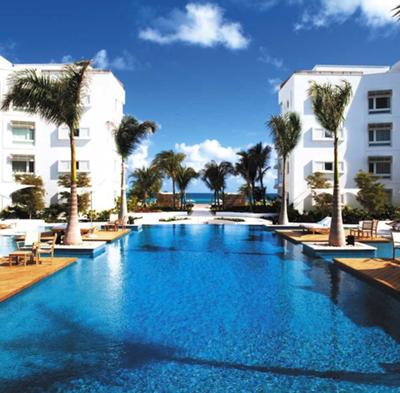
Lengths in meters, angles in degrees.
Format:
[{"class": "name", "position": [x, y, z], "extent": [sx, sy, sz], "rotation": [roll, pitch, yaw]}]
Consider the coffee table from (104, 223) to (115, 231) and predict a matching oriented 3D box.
[{"class": "coffee table", "position": [-4.905, 1.647, 20.579], "extent": [0.488, 0.520, 0.503], "rotation": [0, -7, -10]}]

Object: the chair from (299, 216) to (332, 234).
[{"class": "chair", "position": [5.669, 1.425, 18.417], "extent": [1.034, 0.550, 1.039], "rotation": [0, -2, -2]}]

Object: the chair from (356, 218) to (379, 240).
[{"class": "chair", "position": [8.032, 1.571, 18.164], "extent": [0.797, 1.362, 0.942], "rotation": [0, 1, 6]}]

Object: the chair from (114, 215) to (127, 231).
[{"class": "chair", "position": [-4.445, 1.468, 21.032], "extent": [0.667, 1.053, 0.664], "rotation": [2, -4, -5]}]

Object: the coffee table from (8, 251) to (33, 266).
[{"class": "coffee table", "position": [-5.521, 1.888, 11.616], "extent": [0.442, 0.385, 0.816], "rotation": [1, 1, -8]}]
